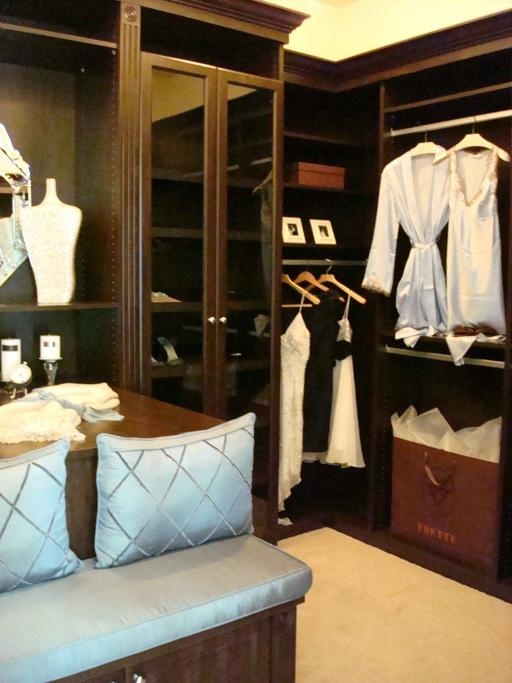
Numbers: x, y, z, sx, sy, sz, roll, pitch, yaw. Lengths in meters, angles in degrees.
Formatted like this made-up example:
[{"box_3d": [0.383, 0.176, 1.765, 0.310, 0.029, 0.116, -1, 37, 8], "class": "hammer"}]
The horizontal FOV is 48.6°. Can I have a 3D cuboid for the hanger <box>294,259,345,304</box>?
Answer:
[{"box_3d": [0.324, -0.318, 3.011, 0.348, 0.026, 0.230, 15, -31, 49], "class": "hanger"}]

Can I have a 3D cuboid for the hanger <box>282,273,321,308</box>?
[{"box_3d": [0.233, -0.256, 2.878, 0.180, 0.143, 0.333, 1, 2, 6], "class": "hanger"}]

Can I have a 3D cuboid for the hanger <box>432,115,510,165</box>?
[{"box_3d": [0.997, -0.867, 2.564, 0.233, 0.162, 0.308, 0, 2, -35], "class": "hanger"}]
